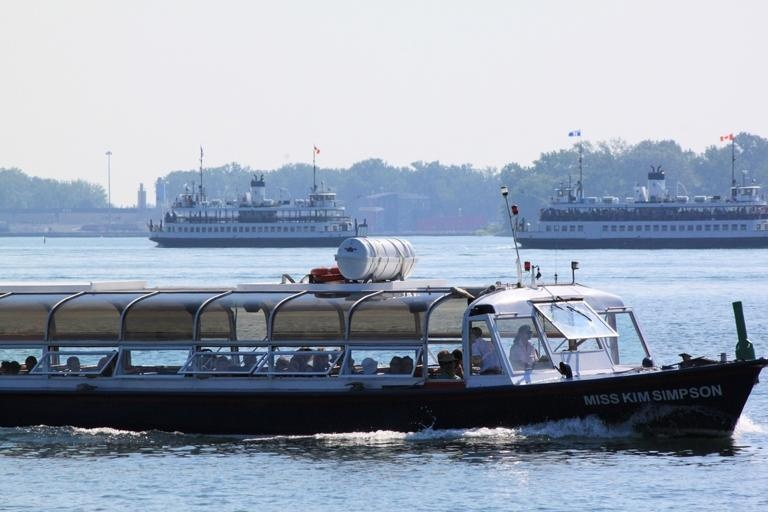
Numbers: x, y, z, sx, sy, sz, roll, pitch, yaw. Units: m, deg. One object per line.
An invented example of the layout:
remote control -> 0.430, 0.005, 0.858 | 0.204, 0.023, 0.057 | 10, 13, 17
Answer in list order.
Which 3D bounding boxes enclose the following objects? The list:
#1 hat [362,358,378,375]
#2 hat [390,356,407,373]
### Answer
hat -> -0.433, 3.608, 63.422 | 0.474, 0.548, 0.572 | -2, -5, -4
hat -> 0.475, 3.602, 63.400 | 0.430, 0.546, 0.260 | 2, 39, 0
